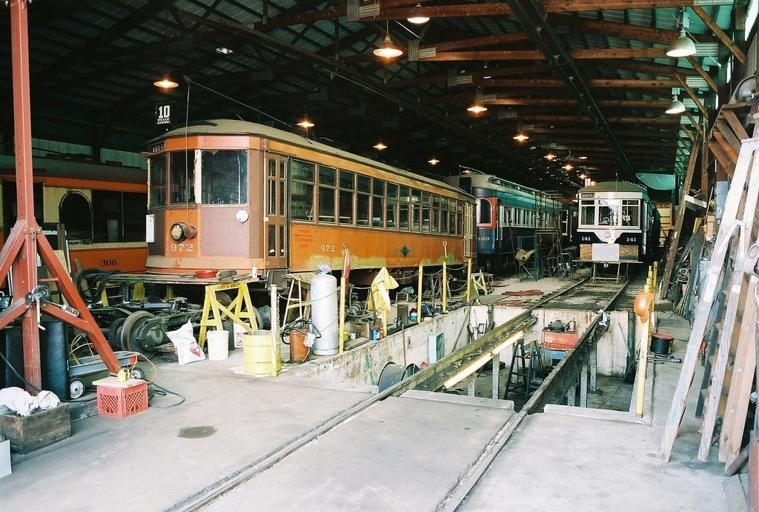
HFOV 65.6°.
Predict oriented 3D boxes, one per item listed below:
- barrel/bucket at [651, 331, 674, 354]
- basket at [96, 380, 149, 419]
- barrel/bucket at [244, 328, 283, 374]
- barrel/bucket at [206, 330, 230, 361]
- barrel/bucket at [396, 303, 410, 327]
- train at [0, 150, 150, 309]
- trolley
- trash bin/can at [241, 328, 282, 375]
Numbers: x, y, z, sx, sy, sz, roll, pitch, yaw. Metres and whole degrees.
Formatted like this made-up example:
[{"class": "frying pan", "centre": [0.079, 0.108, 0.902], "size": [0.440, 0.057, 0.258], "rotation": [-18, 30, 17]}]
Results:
[{"class": "barrel/bucket", "centre": [5.399, 1.647, 11.125], "size": [0.398, 0.264, 0.376], "rotation": [0, 6, 0]}, {"class": "basket", "centre": [-3.305, 1.775, 7.509], "size": [0.518, 0.465, 0.520], "rotation": [2, 2, 28]}, {"class": "barrel/bucket", "centre": [-1.678, 1.441, 8.982], "size": [0.675, 0.603, 0.662], "rotation": [0, 1, 0]}, {"class": "barrel/bucket", "centre": [-2.605, 1.450, 9.659], "size": [0.464, 0.434, 0.439], "rotation": [0, 5, 0]}, {"class": "barrel/bucket", "centre": [0.521, 1.311, 12.981], "size": [0.159, 0.386, 0.486], "rotation": [-1, -2, 19]}, {"class": "train", "centre": [-7.500, -1.054, 15.519], "size": [0.611, 3.218, 3.015], "rotation": [-2, 1, 26]}, {"class": "trolley", "centre": [-3.761, 1.636, 8.141], "size": [0.614, 0.365, 0.892], "rotation": [-4, -4, 34]}, {"class": "trash bin/can", "centre": [-1.766, 1.460, 8.965], "size": [0.696, 0.625, 0.666], "rotation": [0, -1, -5]}]
